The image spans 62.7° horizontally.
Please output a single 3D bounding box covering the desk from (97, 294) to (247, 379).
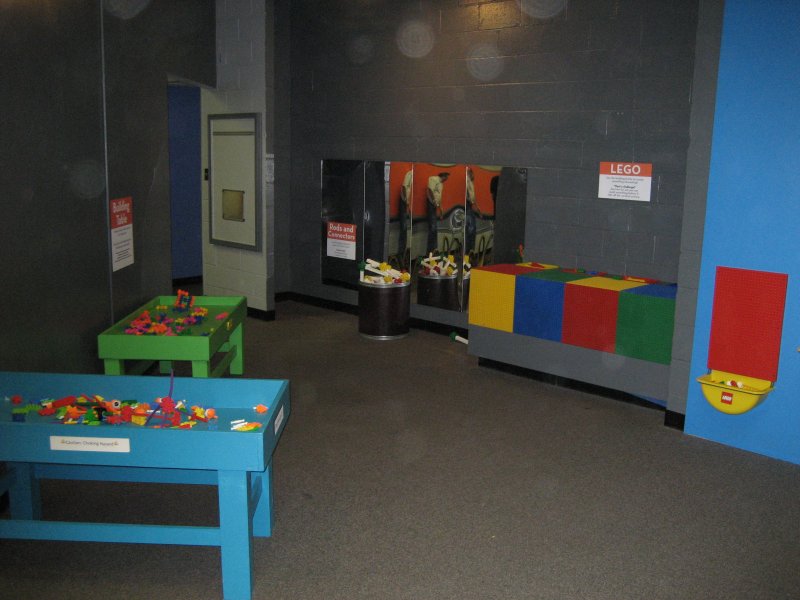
[{"bbox_3d":[-2.016,0.447,6.034,0.889,0.829,1.567,1,7,-1],"label":"desk"}]

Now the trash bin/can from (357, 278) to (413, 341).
[{"bbox_3d":[-0.178,0.084,8.072,0.640,0.724,0.660,-1,7,-11],"label":"trash bin/can"}]

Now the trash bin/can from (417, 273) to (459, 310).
[{"bbox_3d":[0.502,-0.111,8.367,0.431,0.474,0.467,3,9,21],"label":"trash bin/can"}]
